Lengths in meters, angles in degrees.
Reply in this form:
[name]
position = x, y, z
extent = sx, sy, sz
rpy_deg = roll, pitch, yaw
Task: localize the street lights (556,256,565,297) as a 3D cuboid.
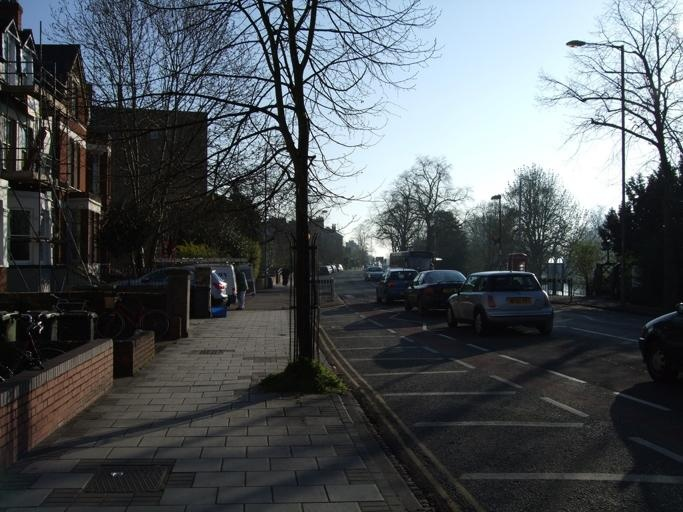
[street lights]
position = 14.632, 1.410, 46.569
extent = 0.591, 2.769, 0.153
rpy_deg = 5, 10, 43
